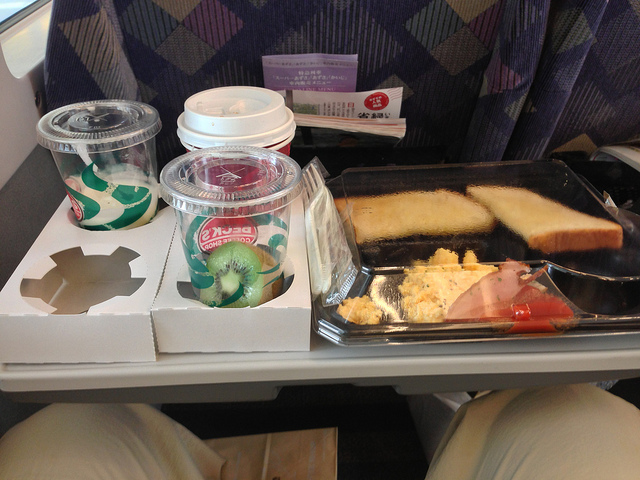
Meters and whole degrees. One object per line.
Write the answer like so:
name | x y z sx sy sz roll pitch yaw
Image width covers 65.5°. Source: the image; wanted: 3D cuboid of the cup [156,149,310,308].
cup | -0.161 -0.010 0.976 0.260 0.229 0.275 -2 16 0

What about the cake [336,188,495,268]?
cake | 0.199 -0.027 1.015 0.268 0.041 0.158 -3 54 -6

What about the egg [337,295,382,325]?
egg | 0.075 0.130 0.926 0.081 0.032 0.043 1 48 -1

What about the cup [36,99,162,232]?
cup | -0.454 -0.152 1.069 0.237 0.217 0.234 0 29 0

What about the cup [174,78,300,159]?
cup | -0.182 -0.267 1.134 0.252 0.173 0.262 2 42 -1

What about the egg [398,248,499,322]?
egg | 0.232 0.087 0.933 0.168 0.123 0.114 -3 26 -11
